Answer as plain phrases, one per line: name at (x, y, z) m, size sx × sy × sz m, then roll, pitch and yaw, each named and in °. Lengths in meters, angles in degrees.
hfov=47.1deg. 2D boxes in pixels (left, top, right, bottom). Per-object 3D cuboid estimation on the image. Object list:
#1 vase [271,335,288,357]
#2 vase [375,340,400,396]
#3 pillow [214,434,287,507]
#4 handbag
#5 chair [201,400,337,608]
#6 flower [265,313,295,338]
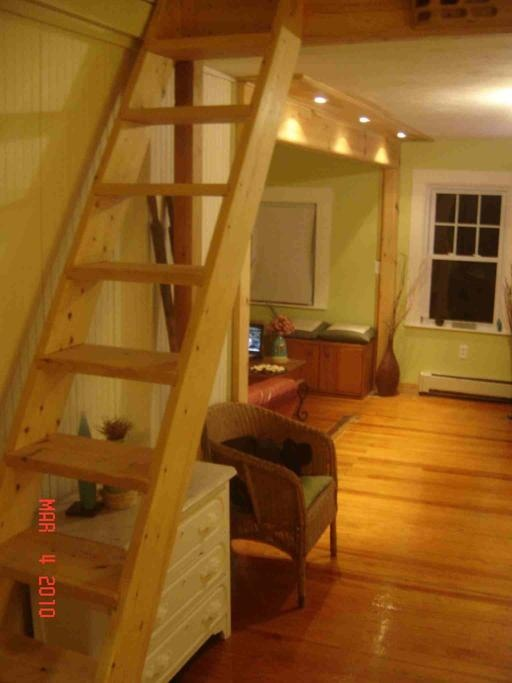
vase at (0.216, 0.045, 5.440) m, size 0.143 × 0.298 × 0.158 m, roll 0°, pitch -5°, yaw 0°
vase at (1.533, 0.291, 6.678) m, size 0.359 × 0.636 × 0.210 m, roll -6°, pitch 9°, yaw -40°
pillow at (-0.029, 0.644, 3.047) m, size 0.277 × 0.368 × 0.265 m, roll 2°, pitch 4°, yaw 27°
handbag at (0.032, 0.644, 3.056) m, size 0.326 × 0.453 × 0.328 m, roll -4°, pitch 7°, yaw 33°
chair at (0.122, 0.656, 3.226) m, size 0.727 × 1.144 × 0.825 m, roll 2°, pitch 8°, yaw 23°
flower at (0.242, -0.158, 5.513) m, size 0.191 × 0.227 × 0.201 m, roll 0°, pitch 7°, yaw 28°
